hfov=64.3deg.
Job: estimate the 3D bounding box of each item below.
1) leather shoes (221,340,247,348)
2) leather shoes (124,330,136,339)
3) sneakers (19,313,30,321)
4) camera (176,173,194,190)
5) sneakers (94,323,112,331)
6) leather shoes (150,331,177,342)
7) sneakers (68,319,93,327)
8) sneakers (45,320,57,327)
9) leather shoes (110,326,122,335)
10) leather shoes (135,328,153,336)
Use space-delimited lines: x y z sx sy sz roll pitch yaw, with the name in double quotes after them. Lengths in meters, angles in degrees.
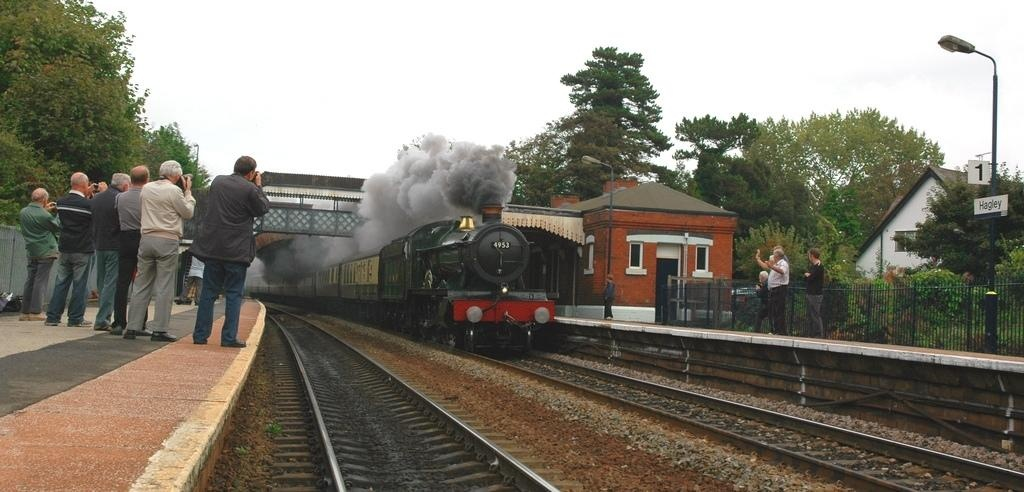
-8.092 2.855 23.825 0.732 0.241 0.244 0 1 -12 "leather shoes"
-10.972 2.553 23.422 0.280 0.145 0.257 0 -4 -7 "leather shoes"
-15.281 2.231 25.598 0.237 0.218 0.570 2 -6 -32 "sneakers"
-9.475 -1.842 23.626 0.438 0.269 0.717 3 2 -22 "camera"
-12.132 2.420 24.207 0.585 0.210 0.180 5 12 14 "sneakers"
-10.039 2.595 23.548 0.748 0.272 0.295 -1 4 -22 "leather shoes"
-13.175 2.339 24.899 0.723 0.249 0.234 1 2 -31 "sneakers"
-13.903 2.338 24.650 0.361 0.128 0.124 -1 -1 10 "sneakers"
-11.607 2.463 23.902 0.341 0.238 0.206 3 -7 -13 "leather shoes"
-10.816 2.530 23.873 0.567 0.197 0.201 -9 -6 37 "leather shoes"
